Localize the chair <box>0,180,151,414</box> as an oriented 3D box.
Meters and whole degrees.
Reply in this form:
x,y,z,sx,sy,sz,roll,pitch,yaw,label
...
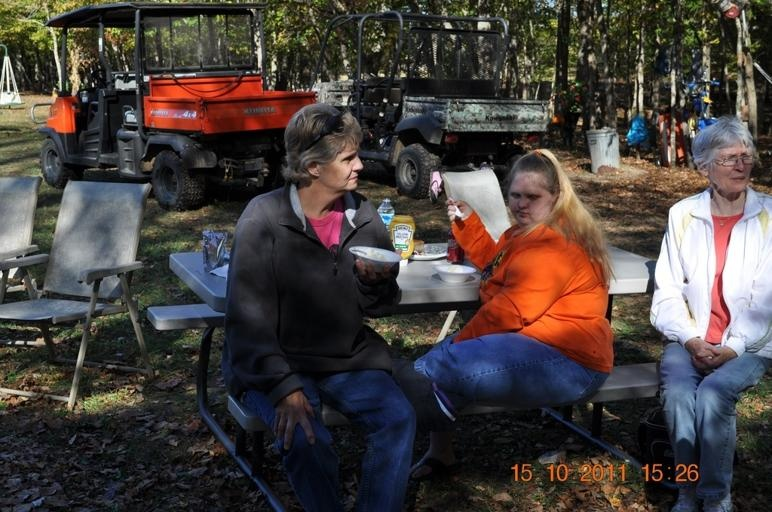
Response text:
x,y,z,sx,sy,sz,roll,pitch,yaw,label
-2.754,0.233,5.378,1.277,1.756,1.635,-5,11,-25,chair

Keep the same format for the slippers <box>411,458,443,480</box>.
x,y,z,sx,sy,sz,roll,pitch,yaw,label
0.282,1.465,4.094,0.258,0.106,0.107,-9,50,-7,slippers

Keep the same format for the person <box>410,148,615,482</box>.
x,y,z,sx,sy,sz,roll,pitch,yaw,label
0.821,0.439,3.785,1.241,2.187,0.812,-1,10,-4,person

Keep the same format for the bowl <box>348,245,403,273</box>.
x,y,z,sx,sy,sz,roll,pitch,yaw,label
-0.069,-0.001,3.373,0.180,0.071,0.177,15,13,-4,bowl

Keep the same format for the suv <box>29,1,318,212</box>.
x,y,z,sx,sy,sz,roll,pitch,yaw,label
-4.271,-3.168,12.203,5.879,3.753,3.304,20,23,41,suv
